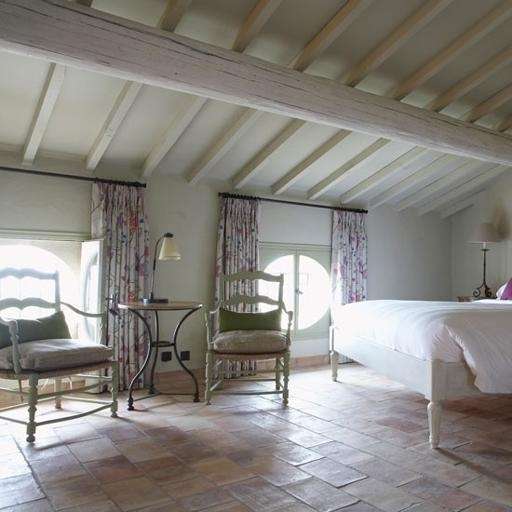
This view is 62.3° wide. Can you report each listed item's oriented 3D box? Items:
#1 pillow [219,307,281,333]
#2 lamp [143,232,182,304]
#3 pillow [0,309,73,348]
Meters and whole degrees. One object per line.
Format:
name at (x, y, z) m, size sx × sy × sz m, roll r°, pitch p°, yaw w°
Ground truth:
pillow at (-0.055, 0.619, 4.109) m, size 0.592 × 0.220 × 0.129 m, roll 0°, pitch -2°, yaw -4°
lamp at (-0.916, 0.088, 4.175) m, size 0.323 × 0.710 × 0.874 m, roll 0°, pitch -2°, yaw -13°
pillow at (-1.613, 0.474, 3.194) m, size 0.163 × 0.311 × 0.508 m, roll -42°, pitch -25°, yaw 30°
